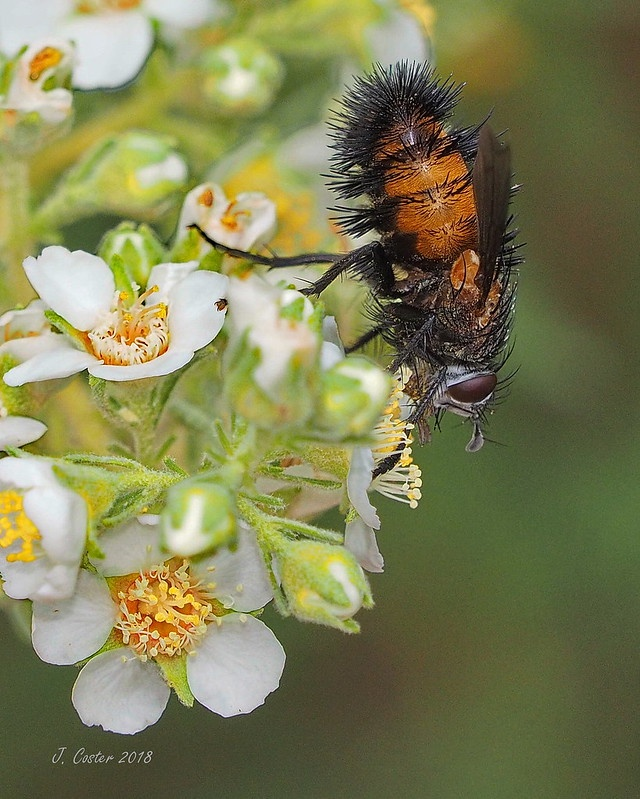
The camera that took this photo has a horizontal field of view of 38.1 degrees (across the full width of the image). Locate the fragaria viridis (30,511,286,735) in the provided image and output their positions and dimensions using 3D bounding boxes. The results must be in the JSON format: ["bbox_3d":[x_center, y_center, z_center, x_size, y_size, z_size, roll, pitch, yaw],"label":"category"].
[{"bbox_3d":[-0.141,0.181,0.755,0.225,0.188,0.070,-26,12,-8],"label":"fragaria viridis"}]

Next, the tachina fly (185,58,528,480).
[{"bbox_3d":[0.104,-0.109,0.971,0.302,0.420,0.345,-5,17,2],"label":"tachina fly"}]
